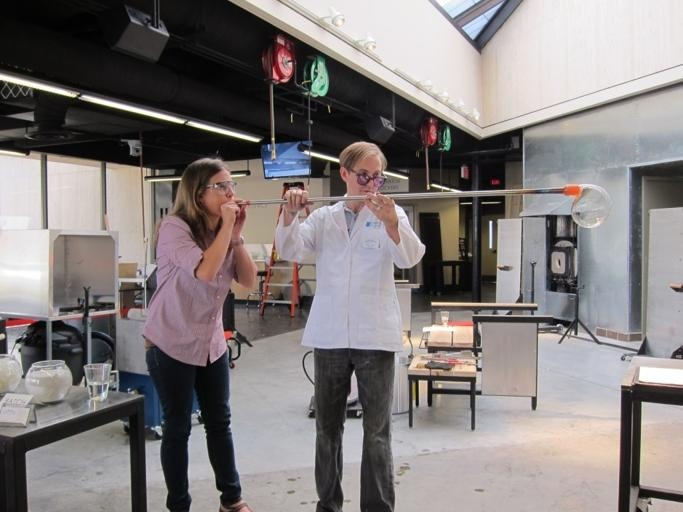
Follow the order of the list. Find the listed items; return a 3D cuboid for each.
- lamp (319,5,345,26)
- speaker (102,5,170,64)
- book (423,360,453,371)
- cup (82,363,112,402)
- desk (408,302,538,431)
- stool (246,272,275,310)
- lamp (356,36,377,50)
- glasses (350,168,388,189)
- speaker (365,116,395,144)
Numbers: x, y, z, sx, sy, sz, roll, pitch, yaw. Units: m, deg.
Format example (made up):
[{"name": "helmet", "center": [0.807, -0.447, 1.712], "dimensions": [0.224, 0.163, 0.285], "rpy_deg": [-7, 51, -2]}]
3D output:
[{"name": "lamp", "center": [-0.103, -2.638, 6.001], "dimensions": [0.249, 0.210, 0.146], "rpy_deg": [0, 2, 19]}, {"name": "speaker", "center": [-1.782, -1.945, 4.803], "dimensions": [0.438, 0.471, 0.301], "rpy_deg": [12, -9, -40]}, {"name": "book", "center": [0.924, 1.025, 5.168], "dimensions": [0.253, 0.040, 0.298], "rpy_deg": [1, 3, 24]}, {"name": "cup", "center": [-1.408, 0.743, 3.184], "dimensions": [0.159, 0.194, 0.136], "rpy_deg": [-1, -6, -25]}, {"name": "desk", "center": [1.343, 0.956, 5.410], "dimensions": [1.036, 0.780, 1.234], "rpy_deg": [1, 4, 8]}, {"name": "stool", "center": [-1.877, 0.715, 12.770], "dimensions": [0.653, 0.923, 0.715], "rpy_deg": [0, 2, -21]}, {"name": "lamp", "center": [0.298, -2.558, 6.582], "dimensions": [0.211, 0.140, 0.213], "rpy_deg": [3, 21, 7]}, {"name": "glasses", "center": [0.170, -0.447, 3.166], "dimensions": [0.206, 0.101, 0.124], "rpy_deg": [-2, 3, -24]}, {"name": "speaker", "center": [0.592, -1.929, 8.296], "dimensions": [0.402, 0.393, 0.338], "rpy_deg": [-3, 3, -44]}]
